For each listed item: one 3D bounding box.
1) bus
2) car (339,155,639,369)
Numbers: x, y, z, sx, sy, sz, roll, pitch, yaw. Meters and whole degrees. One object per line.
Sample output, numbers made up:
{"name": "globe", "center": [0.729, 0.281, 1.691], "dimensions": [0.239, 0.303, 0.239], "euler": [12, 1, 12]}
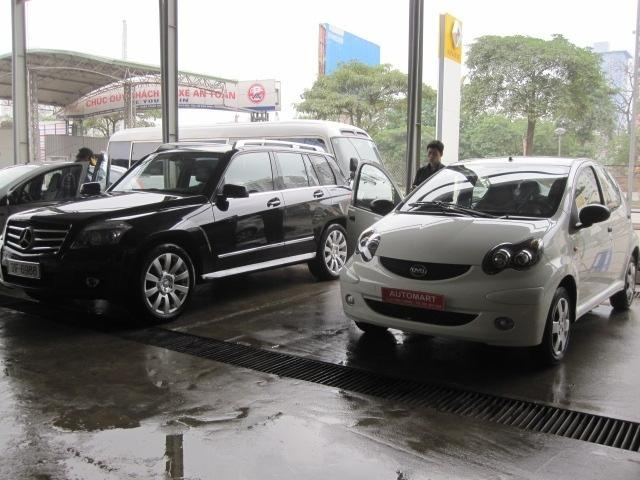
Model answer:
{"name": "bus", "center": [-3.442, -2.106, 14.532], "dimensions": [10.596, 3.227, 3.473], "euler": [0, 9, 20]}
{"name": "car", "center": [1.850, 0.155, 4.388], "dimensions": [1.735, 1.171, 2.654], "euler": [1, 2, 39]}
